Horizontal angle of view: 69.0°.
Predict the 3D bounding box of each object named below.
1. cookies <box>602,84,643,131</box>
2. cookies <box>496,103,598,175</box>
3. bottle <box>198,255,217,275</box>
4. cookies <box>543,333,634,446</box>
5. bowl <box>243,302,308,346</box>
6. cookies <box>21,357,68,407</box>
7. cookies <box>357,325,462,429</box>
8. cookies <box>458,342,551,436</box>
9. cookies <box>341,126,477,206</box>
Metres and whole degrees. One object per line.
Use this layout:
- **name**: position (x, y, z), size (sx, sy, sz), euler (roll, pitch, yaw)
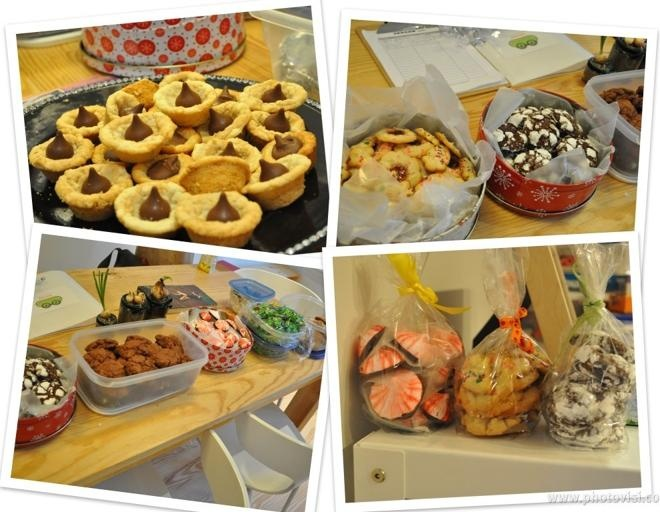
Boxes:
- **cookies**: position (0.955, -0.503, 1.583), size (0.131, 0.063, 0.318), euler (15, 41, 23)
- **cookies**: position (0.642, -0.357, 1.513), size (0.255, 0.076, 0.236), euler (24, 59, 5)
- **bottle**: position (-0.566, 0.045, 2.205), size (0.063, 0.096, 0.053), euler (9, 51, -27)
- **cookies**: position (0.594, 0.309, 1.139), size (0.160, 0.255, 0.158), euler (5, 26, 9)
- **bowl**: position (-0.201, 0.232, 1.859), size (0.223, 0.155, 0.222), euler (0, 24, 0)
- **cookies**: position (-0.805, 0.365, 1.334), size (0.129, 0.038, 0.101), euler (47, 31, 3)
- **cookies**: position (0.215, 0.327, 1.296), size (0.271, 0.250, 0.282), euler (0, 25, 4)
- **cookies**: position (0.424, 0.345, 1.218), size (0.200, 0.146, 0.214), euler (17, 42, 25)
- **cookies**: position (0.216, -0.282, 1.461), size (0.418, 0.114, 0.361), euler (-13, 38, -11)
